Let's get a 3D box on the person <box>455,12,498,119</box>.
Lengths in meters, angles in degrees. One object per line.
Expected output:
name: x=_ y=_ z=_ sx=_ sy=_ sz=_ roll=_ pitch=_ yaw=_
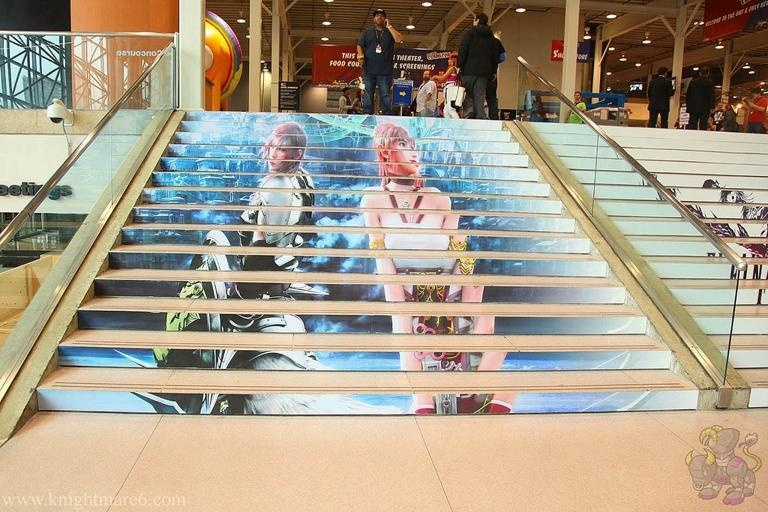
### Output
person: x=1.328 y=-2.696 z=8.259 sx=0.589 sy=1.401 sz=0.343 roll=2 pitch=17 yaw=0

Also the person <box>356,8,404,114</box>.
person: x=-0.083 y=-2.853 z=8.442 sx=0.609 sy=1.493 sz=0.866 roll=2 pitch=17 yaw=0

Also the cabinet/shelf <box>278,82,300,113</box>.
cabinet/shelf: x=-2.612 y=-4.345 z=15.727 sx=0.519 sy=0.759 sz=0.572 roll=-2 pitch=17 yaw=-10

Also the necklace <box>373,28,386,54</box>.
necklace: x=-0.087 y=-3.069 z=8.288 sx=0.194 sy=0.347 sz=0.108 roll=2 pitch=17 yaw=0
